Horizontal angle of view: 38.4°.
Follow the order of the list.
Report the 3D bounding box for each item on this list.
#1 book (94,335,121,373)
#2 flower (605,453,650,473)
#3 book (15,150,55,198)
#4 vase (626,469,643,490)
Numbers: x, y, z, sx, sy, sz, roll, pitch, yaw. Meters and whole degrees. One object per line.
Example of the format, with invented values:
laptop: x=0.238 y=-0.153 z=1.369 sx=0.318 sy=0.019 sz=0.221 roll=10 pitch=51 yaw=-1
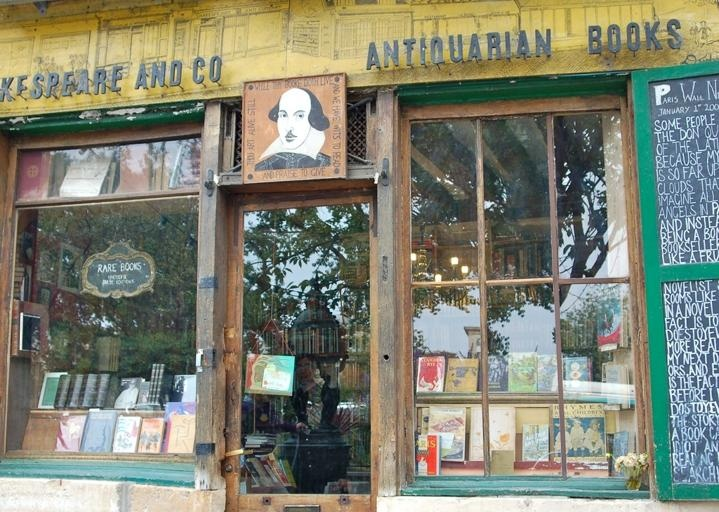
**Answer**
book: x=-2.581 y=0.979 z=10.394 sx=0.275 sy=0.344 sz=0.080 roll=0 pitch=-7 yaw=17
flower: x=2.467 y=1.857 z=9.349 sx=0.189 sy=0.131 sz=0.208 roll=-3 pitch=-19 yaw=9
book: x=-3.429 y=-0.831 z=10.809 sx=0.415 sy=0.851 sz=0.078 roll=0 pitch=-5 yaw=4
vase: x=2.480 y=2.006 z=9.350 sx=0.143 sy=0.188 sz=0.154 roll=2 pitch=-1 yaw=-7
